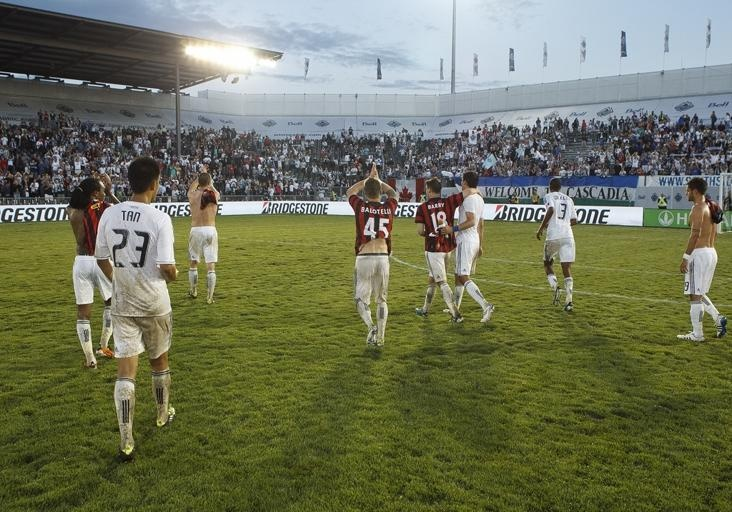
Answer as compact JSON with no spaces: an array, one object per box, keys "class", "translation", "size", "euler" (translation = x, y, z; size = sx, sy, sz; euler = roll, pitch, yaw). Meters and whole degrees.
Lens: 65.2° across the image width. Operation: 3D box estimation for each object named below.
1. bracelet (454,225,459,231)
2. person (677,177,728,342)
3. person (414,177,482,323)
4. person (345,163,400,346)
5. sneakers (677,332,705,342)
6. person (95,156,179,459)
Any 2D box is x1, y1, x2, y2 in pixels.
[{"class":"bracelet","translation":[1.479,-0.492,9.533],"size":[0.053,0.080,0.073],"euler":[-7,-11,-2]},{"class":"person","translation":[5.277,0.034,8.983],"size":[0.655,2.519,0.799],"euler":[6,10,35]},{"class":"person","translation":[1.236,-0.124,9.874],"size":[0.808,2.500,1.078],"euler":[0,9,5]},{"class":"person","translation":[0.106,0.035,8.604],"size":[0.675,2.697,0.759],"euler":[-3,9,-15]},{"class":"sneakers","translation":[5.069,1.270,9.048],"size":[0.374,0.168,0.133],"euler":[7,3,28]},{"class":"person","translation":[-2.449,0.501,6.248],"size":[0.679,3.134,0.650],"euler":[-6,10,-31]}]
